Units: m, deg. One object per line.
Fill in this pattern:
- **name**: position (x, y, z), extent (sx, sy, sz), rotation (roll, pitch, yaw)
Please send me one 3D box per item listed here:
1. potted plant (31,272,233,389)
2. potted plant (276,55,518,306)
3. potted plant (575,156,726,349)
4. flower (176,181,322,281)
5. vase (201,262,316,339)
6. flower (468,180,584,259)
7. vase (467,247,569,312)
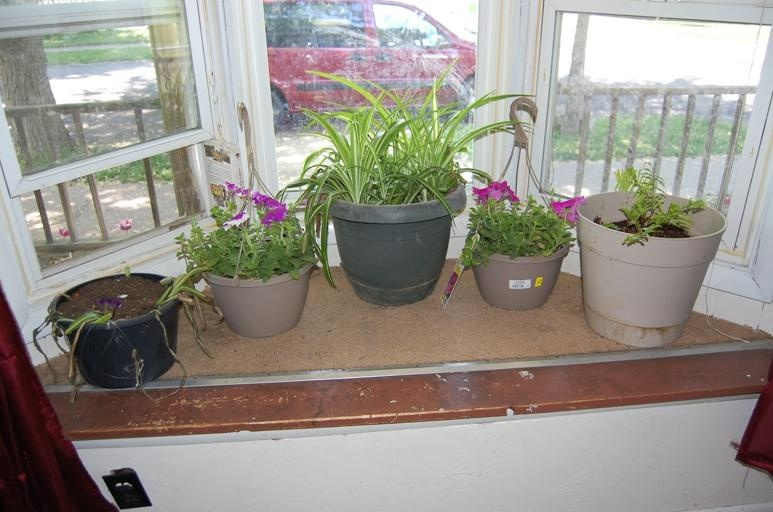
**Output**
- **potted plant**: position (-0.868, 0.218, 1.856), extent (0.458, 0.265, 0.456), rotation (1, 25, -12)
- **potted plant**: position (-0.079, -0.169, 2.148), extent (0.747, 0.732, 0.702), rotation (2, 11, 22)
- **potted plant**: position (0.922, 0.008, 1.994), extent (0.456, 0.545, 0.389), rotation (19, 32, 34)
- **flower**: position (-0.545, -0.051, 1.983), extent (0.486, 0.226, 0.544), rotation (-7, -2, -7)
- **vase**: position (-0.463, 0.165, 1.955), extent (0.306, 0.187, 0.301), rotation (-3, 21, -4)
- **flower**: position (0.541, -0.133, 2.223), extent (0.415, 0.292, 0.519), rotation (4, 7, -9)
- **vase**: position (0.532, 0.062, 2.237), extent (0.398, 0.240, 0.387), rotation (10, 19, 36)
